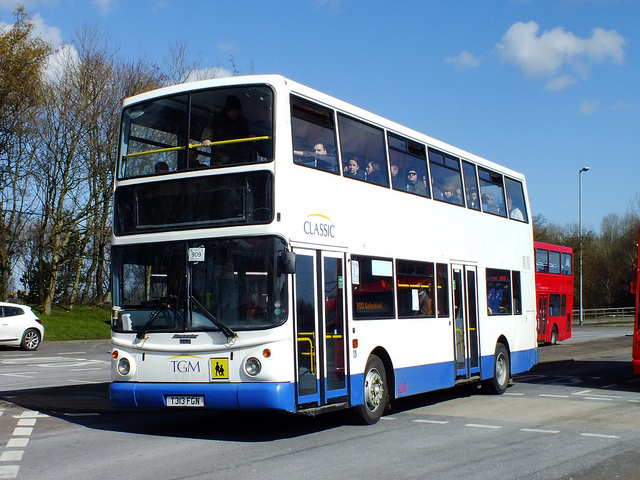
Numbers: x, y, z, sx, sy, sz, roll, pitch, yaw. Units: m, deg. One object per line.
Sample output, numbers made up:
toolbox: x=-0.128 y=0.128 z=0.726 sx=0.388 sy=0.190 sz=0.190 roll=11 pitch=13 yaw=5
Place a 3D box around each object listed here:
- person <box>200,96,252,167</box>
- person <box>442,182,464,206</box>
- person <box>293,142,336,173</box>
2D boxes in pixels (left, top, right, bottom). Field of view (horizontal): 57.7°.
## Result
person: x=-1.525 y=-1.800 z=9.599 sx=0.976 sy=1.264 sz=0.405 roll=-4 pitch=-7 yaw=29
person: x=3.259 y=-1.111 z=14.117 sx=0.242 sy=0.335 sz=1.001 roll=-6 pitch=-10 yaw=24
person: x=-0.076 y=-1.440 z=10.258 sx=0.328 sy=0.486 sz=0.901 roll=-5 pitch=-2 yaw=29
